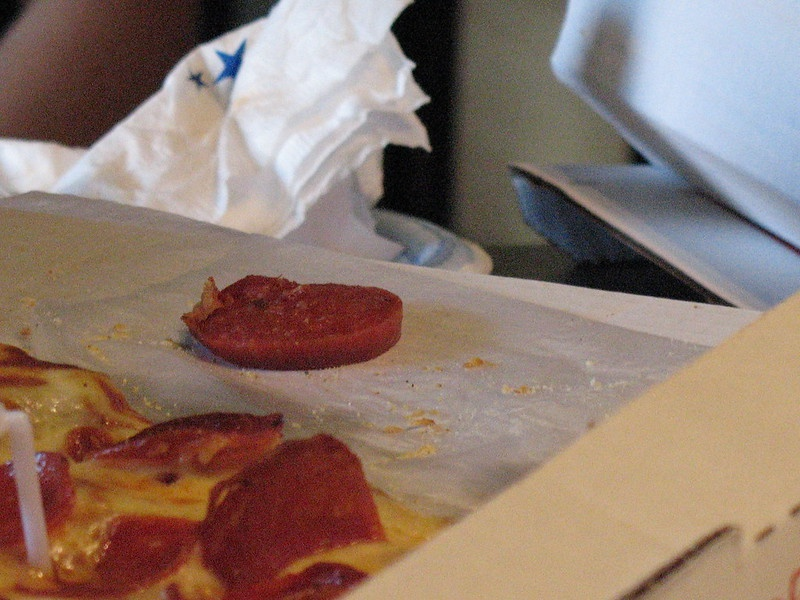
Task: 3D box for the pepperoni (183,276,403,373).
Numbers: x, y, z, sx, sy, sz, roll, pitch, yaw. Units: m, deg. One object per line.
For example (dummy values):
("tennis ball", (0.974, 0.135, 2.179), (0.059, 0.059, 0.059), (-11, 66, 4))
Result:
("pepperoni", (-0.093, 0.017, 1.045), (0.124, 0.043, 0.101), (-1, 23, -4))
